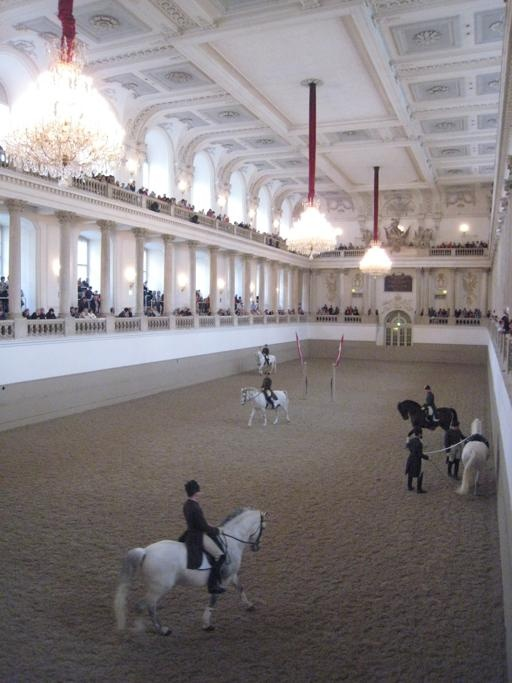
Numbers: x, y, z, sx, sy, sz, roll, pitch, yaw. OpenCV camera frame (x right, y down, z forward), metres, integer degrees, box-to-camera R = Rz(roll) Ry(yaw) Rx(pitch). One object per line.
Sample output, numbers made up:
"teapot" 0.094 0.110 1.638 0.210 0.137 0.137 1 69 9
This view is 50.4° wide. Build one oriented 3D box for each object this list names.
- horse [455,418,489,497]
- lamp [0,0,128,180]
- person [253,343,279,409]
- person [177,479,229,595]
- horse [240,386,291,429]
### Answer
"horse" 3.808 2.025 9.569 0.462 1.118 1.785 1 3 22
"lamp" -3.238 -3.977 8.903 1.627 2.394 1.577 0 3 1
"person" 0.396 1.356 21.027 0.640 2.508 0.595 8 -4 5
"person" -0.477 1.746 4.828 0.396 1.094 0.349 -1 3 -18
"horse" 0.273 1.746 15.709 1.204 1.110 2.684 0 3 1
